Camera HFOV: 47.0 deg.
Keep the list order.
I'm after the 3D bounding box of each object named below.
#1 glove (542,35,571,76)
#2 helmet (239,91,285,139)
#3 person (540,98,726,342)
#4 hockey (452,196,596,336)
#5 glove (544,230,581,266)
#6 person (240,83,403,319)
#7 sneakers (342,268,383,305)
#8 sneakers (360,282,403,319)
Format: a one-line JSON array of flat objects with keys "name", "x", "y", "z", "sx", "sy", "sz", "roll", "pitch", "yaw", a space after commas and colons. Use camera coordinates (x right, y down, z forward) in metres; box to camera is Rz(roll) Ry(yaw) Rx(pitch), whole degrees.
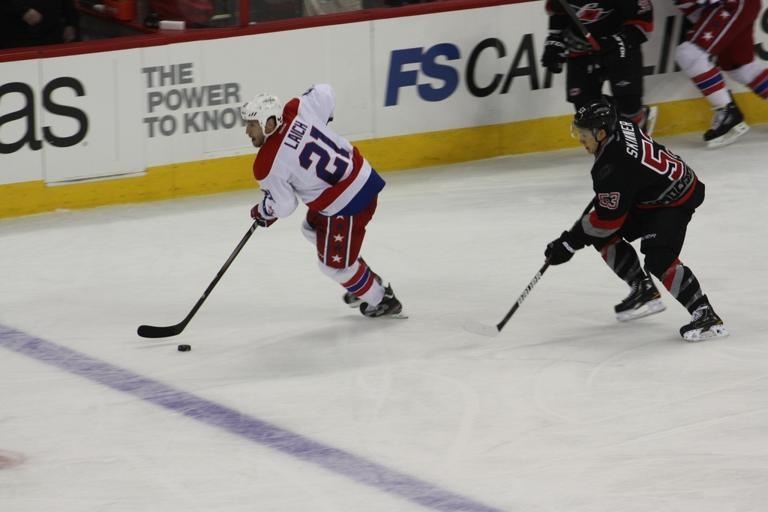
[{"name": "glove", "x": 1.394, "y": -1.634, "z": 7.158, "sx": 0.256, "sy": 0.264, "sz": 0.116, "roll": 7, "pitch": 8, "yaw": -1}, {"name": "helmet", "x": -0.644, "y": -0.761, "z": 4.762, "sx": 0.239, "sy": 0.187, "sz": 0.176, "roll": -21, "pitch": 29, "yaw": -26}, {"name": "person", "x": 1.456, "y": -0.199, "z": 4.978, "sx": 0.970, "sy": 1.201, "sz": 1.029, "roll": -18, "pitch": 20, "yaw": -33}, {"name": "hockey", "x": 0.880, "y": 0.088, "z": 5.595, "sx": 0.129, "sy": 1.094, "sz": 0.164, "roll": 41, "pitch": 7, "yaw": -17}, {"name": "glove", "x": 0.984, "y": -0.046, "z": 4.895, "sx": 0.223, "sy": 0.151, "sz": 0.076, "roll": -36, "pitch": -24, "yaw": 12}, {"name": "person", "x": -0.350, "y": -0.261, "z": 5.013, "sx": 0.695, "sy": 1.364, "sz": 0.310, "roll": -17, "pitch": 20, "yaw": -22}, {"name": "sneakers", "x": -0.129, "y": 0.195, "z": 5.284, "sx": 0.339, "sy": 0.135, "sz": 0.109, "roll": -34, "pitch": 71, "yaw": -17}, {"name": "sneakers", "x": 0.050, "y": 0.255, "z": 5.238, "sx": 0.381, "sy": 0.221, "sz": 0.109, "roll": -1, "pitch": 42, "yaw": -8}]
